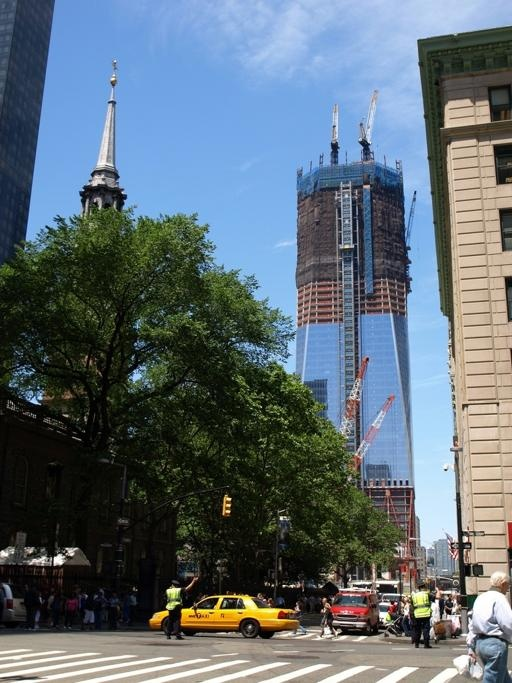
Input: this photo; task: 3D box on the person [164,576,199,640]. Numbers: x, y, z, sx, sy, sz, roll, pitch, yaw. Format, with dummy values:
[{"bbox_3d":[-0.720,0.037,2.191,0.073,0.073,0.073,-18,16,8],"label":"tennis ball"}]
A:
[{"bbox_3d":[-2.172,7.499,23.859,0.528,1.575,1.124,12,-14,-44],"label":"person"}]
